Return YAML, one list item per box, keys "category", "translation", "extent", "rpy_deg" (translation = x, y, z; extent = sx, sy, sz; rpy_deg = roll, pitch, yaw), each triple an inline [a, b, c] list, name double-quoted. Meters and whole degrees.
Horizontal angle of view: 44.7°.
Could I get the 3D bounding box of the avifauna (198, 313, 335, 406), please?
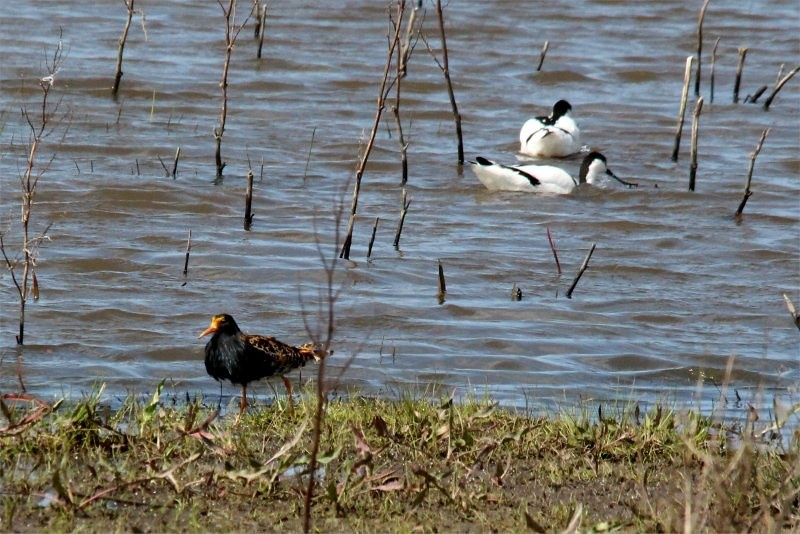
- category: "avifauna"
  translation: [-1.279, 0.913, 9.304]
  extent: [1.311, 0.522, 0.459]
  rpy_deg: [-3, 10, -43]
